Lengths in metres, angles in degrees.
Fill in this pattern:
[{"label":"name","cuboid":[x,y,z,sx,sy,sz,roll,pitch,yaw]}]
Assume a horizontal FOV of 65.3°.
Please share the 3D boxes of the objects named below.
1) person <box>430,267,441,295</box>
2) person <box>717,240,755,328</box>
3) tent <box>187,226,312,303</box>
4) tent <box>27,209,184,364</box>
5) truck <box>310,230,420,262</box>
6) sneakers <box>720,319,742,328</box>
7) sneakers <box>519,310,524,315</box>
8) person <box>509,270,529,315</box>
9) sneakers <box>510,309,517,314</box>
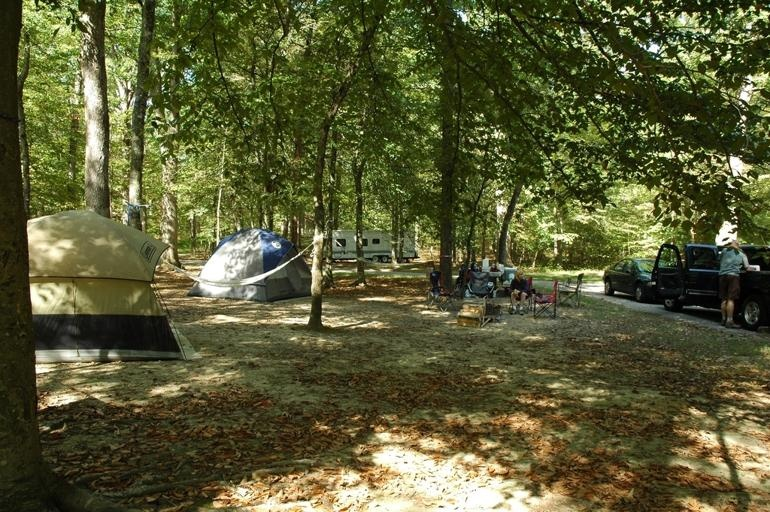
[{"label":"person","cuboid":[1.634,0.760,18.861,0.281,0.885,0.380,3,-5,-8]},{"label":"person","cuboid":[8.455,0.662,14.651,0.649,2.196,0.443,9,15,27]},{"label":"tent","cuboid":[-4.225,0.311,19.017,2.704,1.716,2.863,1,3,21]},{"label":"tent","cuboid":[-5.336,0.620,11.979,2.866,1.690,2.779,1,13,-1]},{"label":"truck","cuboid":[-0.851,-0.694,42.432,6.443,2.029,2.238,0,6,-7]},{"label":"sneakers","cuboid":[8.519,1.677,14.757,0.393,0.149,0.145,1,5,12]},{"label":"sneakers","cuboid":[3.925,1.593,17.046,0.131,0.127,0.238,11,-2,11]},{"label":"person","cuboid":[3.952,1.002,17.447,0.567,1.217,1.182,5,13,11]},{"label":"sneakers","cuboid":[3.697,1.589,17.284,0.105,0.117,0.305,-3,-2,12]}]
